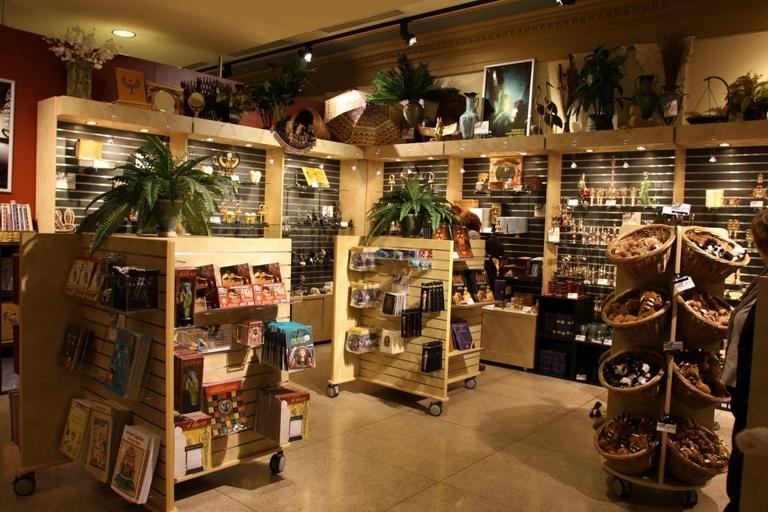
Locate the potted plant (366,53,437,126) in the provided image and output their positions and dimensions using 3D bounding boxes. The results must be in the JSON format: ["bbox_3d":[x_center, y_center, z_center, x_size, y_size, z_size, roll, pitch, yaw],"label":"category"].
[{"bbox_3d":[0.308,-2.769,9.054,1.235,1.117,1.221,-2,1,15],"label":"potted plant"}]

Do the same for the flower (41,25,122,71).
[{"bbox_3d":[-3.975,-2.745,6.848,0.775,0.485,0.695,-3,9,8],"label":"flower"}]

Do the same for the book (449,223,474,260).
[{"bbox_3d":[0.962,-0.186,6.525,0.065,0.497,0.449,-15,-13,37],"label":"book"}]
